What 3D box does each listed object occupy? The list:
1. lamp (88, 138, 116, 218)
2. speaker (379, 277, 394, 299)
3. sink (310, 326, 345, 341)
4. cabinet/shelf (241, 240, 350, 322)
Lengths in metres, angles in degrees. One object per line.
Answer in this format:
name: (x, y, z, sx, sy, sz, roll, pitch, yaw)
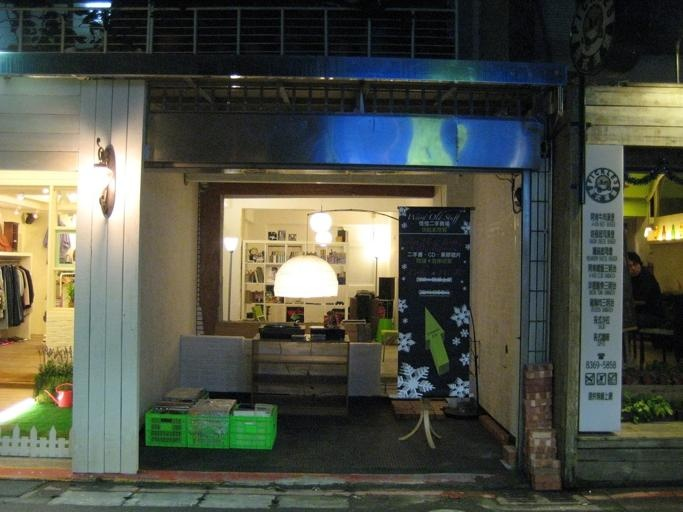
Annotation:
lamp: (-2.767, -0.899, 9.649, 0.283, 0.907, 0.302, 0, 13, -4)
speaker: (0.950, 0.652, 17.404, 0.417, 0.604, 0.371, 1, 1, 4)
sink: (-0.185, 1.087, 11.704, 0.470, 0.165, 0.269, 0, 14, -5)
cabinet/shelf: (-0.942, 0.448, 14.943, 1.591, 1.538, 0.477, 1, 1, -6)
